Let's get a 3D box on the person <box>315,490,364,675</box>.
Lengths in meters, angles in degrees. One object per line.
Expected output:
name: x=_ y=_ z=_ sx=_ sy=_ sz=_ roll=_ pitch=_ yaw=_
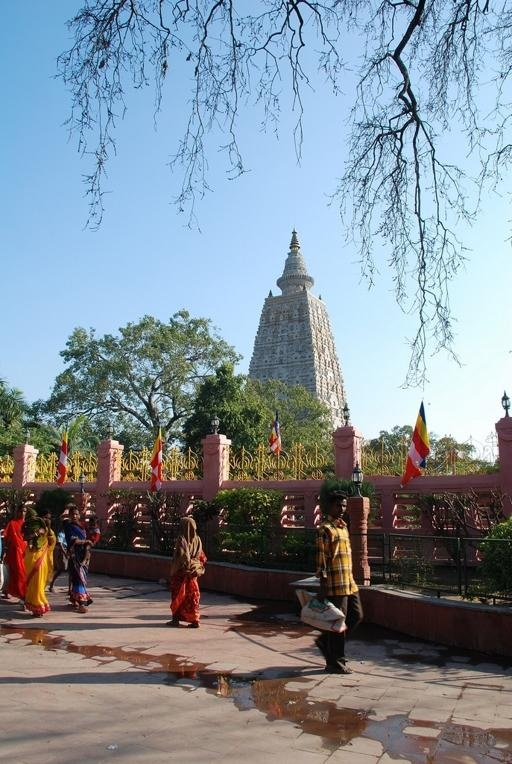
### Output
person: x=0.732 y=1.773 z=5.692 sx=0.409 sy=1.542 sz=0.866 roll=-1 pitch=-10 yaw=5

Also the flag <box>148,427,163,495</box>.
flag: x=-2.317 y=1.849 z=14.848 sx=0.225 sy=1.376 sz=0.842 roll=2 pitch=-10 yaw=-12

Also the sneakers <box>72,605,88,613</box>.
sneakers: x=-2.394 y=3.102 z=8.666 sx=0.185 sy=0.133 sz=0.067 roll=-23 pitch=-27 yaw=39

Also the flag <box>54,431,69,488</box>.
flag: x=-5.486 y=2.180 z=18.045 sx=0.281 sy=1.477 sz=1.893 roll=3 pitch=-11 yaw=-17

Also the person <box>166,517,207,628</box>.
person: x=-0.856 y=2.342 z=7.858 sx=0.412 sy=1.276 sz=0.467 roll=1 pitch=-10 yaw=-6

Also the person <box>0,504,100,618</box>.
person: x=-2.753 y=2.467 z=8.923 sx=0.942 sy=1.413 sz=1.076 roll=2 pitch=-10 yaw=-15
